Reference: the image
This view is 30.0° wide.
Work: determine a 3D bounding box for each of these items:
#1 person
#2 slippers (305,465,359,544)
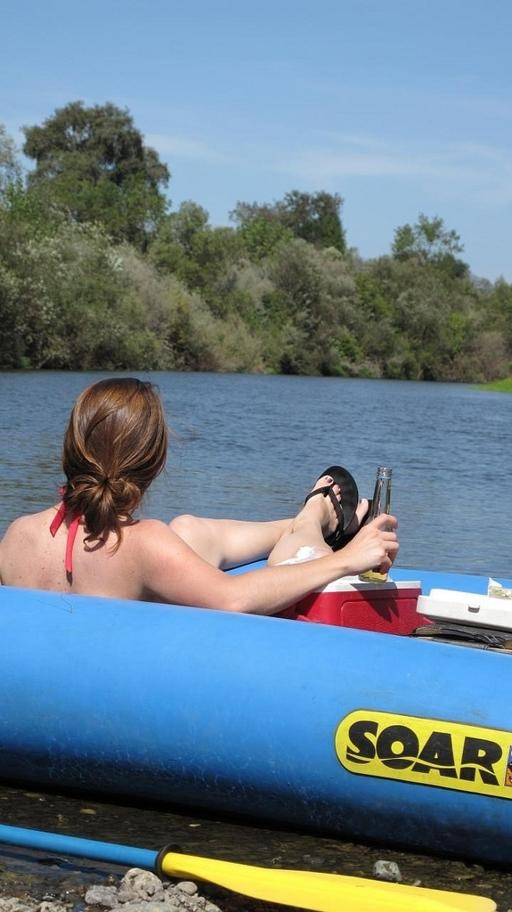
[{"bbox_3d":[-0.080,0.063,1.960,0.558,0.338,0.750,10,15,39],"label":"person"},{"bbox_3d":[0.204,0.163,2.589,0.101,0.264,0.062,17,21,30],"label":"slippers"}]
